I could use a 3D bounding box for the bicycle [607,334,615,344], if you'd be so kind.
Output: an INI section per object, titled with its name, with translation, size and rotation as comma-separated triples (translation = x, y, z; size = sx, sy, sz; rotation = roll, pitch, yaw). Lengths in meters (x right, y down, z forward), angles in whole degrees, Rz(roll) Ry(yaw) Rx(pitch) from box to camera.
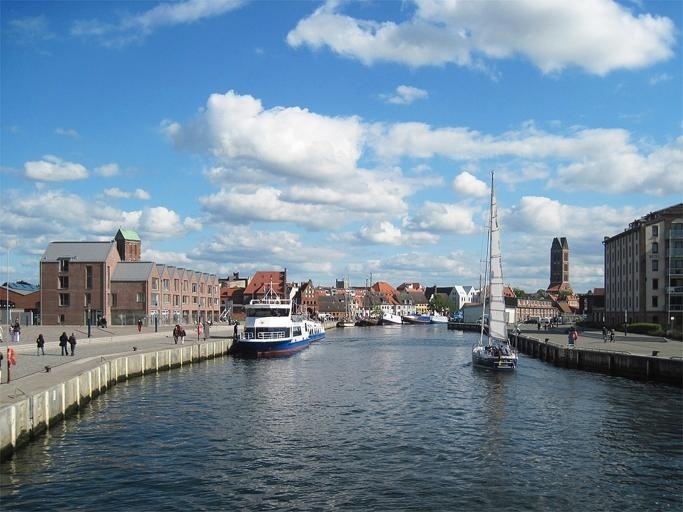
[bicycle]
translation = 34.283, 10.472, 88.001
size = 1.023, 1.258, 2.005
rotation = 2, 3, 21
